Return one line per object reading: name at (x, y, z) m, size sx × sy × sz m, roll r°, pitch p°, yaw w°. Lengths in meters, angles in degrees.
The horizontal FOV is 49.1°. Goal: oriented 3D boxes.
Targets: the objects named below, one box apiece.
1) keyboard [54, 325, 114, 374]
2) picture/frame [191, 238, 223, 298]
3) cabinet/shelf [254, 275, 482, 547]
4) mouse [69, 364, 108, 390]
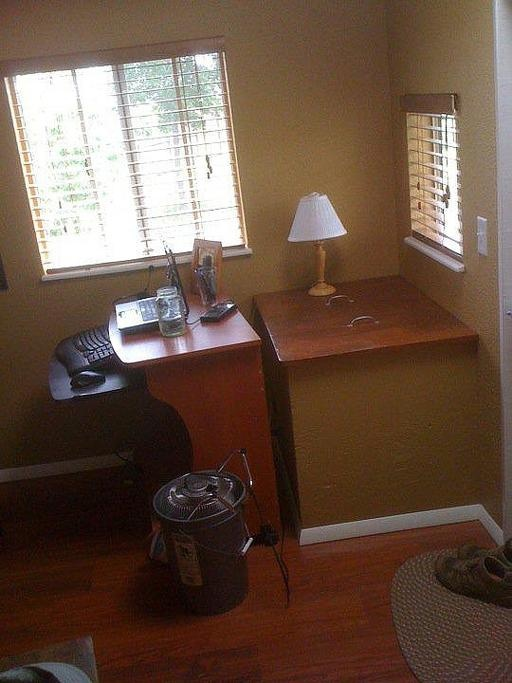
keyboard at (-0.739, 0.041, 2.491) m, size 0.226 × 0.056 × 0.235 m, roll -26°, pitch 26°, yaw -19°
picture/frame at (-0.230, -0.330, 2.636) m, size 0.028 × 0.280 × 0.205 m, roll 3°, pitch 6°, yaw 35°
cabinet/shelf at (0.411, 0.214, 2.435) m, size 0.846 × 0.766 × 1.221 m, roll -4°, pitch 25°, yaw 0°
mouse at (-0.682, 0.148, 2.251) m, size 0.099 × 0.042 × 0.105 m, roll -2°, pitch 10°, yaw -11°
